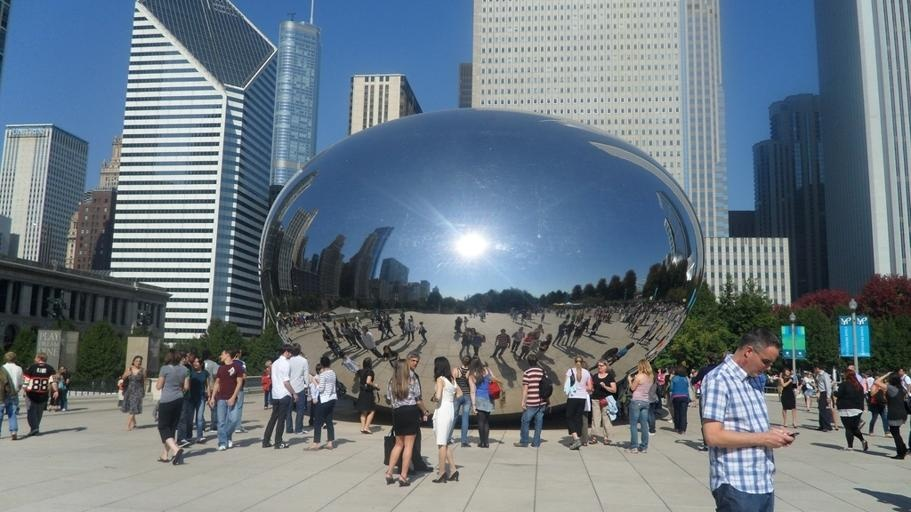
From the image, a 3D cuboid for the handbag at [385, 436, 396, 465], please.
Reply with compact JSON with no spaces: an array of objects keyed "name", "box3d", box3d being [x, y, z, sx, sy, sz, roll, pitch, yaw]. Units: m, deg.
[{"name":"handbag","box3d":[-2.267,7.112,23.483,0.402,1.031,0.246,5,7,39]}]
